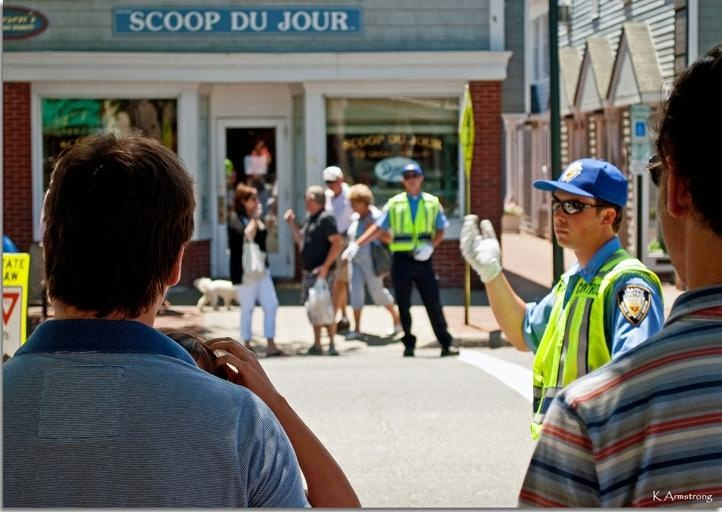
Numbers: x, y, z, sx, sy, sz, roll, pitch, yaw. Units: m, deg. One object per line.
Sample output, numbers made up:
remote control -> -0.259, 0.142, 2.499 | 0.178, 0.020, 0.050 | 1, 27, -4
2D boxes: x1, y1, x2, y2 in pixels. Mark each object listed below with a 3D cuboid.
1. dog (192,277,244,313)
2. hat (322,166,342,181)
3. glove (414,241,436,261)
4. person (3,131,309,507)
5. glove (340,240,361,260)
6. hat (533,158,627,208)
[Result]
dog -> -1.655, 0.456, 16.261 | 0.494, 0.294, 0.132 | 14, 6, 41
hat -> -0.283, -0.856, 14.269 | 0.161, 0.185, 0.233 | 6, 22, 26
glove -> 0.644, -0.061, 13.292 | 0.103, 0.181, 0.265 | 6, 12, 40
person -> -1.071, 0.325, 6.504 | 1.321, 1.755, 0.406 | -2, 9, -5
glove -> -0.091, -0.067, 13.763 | 0.122, 0.214, 0.068 | 32, 25, 16
hat -> 1.374, -0.454, 8.191 | 0.430, 0.241, 0.313 | 8, 1, -7
